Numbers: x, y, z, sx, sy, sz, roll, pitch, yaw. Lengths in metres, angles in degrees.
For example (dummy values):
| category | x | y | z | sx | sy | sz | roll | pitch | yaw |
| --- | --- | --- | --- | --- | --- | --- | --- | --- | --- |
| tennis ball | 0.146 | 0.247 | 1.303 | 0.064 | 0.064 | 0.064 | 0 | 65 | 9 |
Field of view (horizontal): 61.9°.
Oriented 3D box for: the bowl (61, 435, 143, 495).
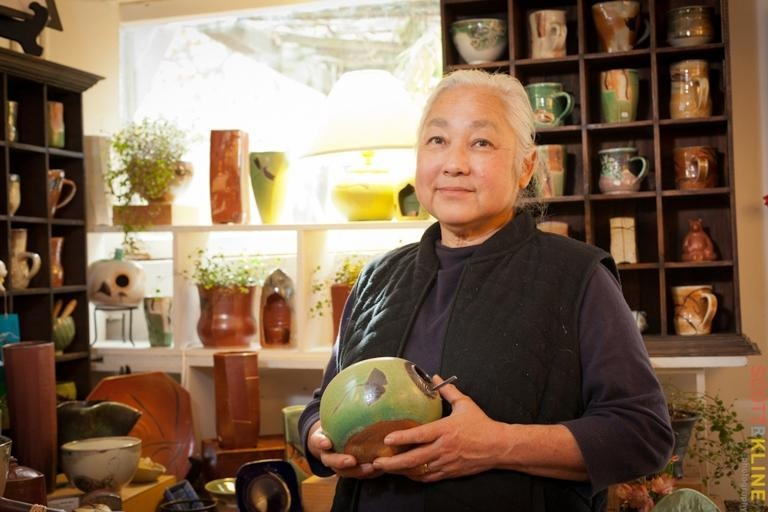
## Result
| category | x | y | z | sx | sy | sz | roll | pitch | yaw |
| --- | --- | --- | --- | --- | --- | --- | --- | --- | --- |
| bowl | -1.098 | 0.824 | 2.499 | 0.295 | 0.196 | 0.291 | 1 | -5 | 0 |

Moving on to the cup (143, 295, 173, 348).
| category | x | y | z | sx | sy | sz | roll | pitch | yaw |
| --- | --- | --- | --- | --- | --- | --- | --- | --- | --- |
| cup | -1.151 | 0.335 | 3.285 | 0.153 | 0.257 | 0.090 | -1 | -2 | -4 |

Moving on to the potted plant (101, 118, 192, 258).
| category | x | y | z | sx | sy | sz | roll | pitch | yaw |
| --- | --- | --- | --- | --- | --- | --- | --- | --- | --- |
| potted plant | -1.190 | -0.384 | 3.376 | 0.375 | 0.625 | 0.414 | -3 | -5 | 30 |

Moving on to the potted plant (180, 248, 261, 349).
| category | x | y | z | sx | sy | sz | roll | pitch | yaw |
| --- | --- | --- | --- | --- | --- | --- | --- | --- | --- |
| potted plant | -0.692 | 0.235 | 3.348 | 0.457 | 0.519 | 0.457 | -3 | -5 | 27 |

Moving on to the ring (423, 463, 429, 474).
| category | x | y | z | sx | sy | sz | roll | pitch | yaw |
| --- | --- | --- | --- | --- | --- | --- | --- | --- | --- |
| ring | 0.109 | 0.524 | 1.584 | 0.008 | 0.016 | 0.022 | 3 | 10 | -12 |
